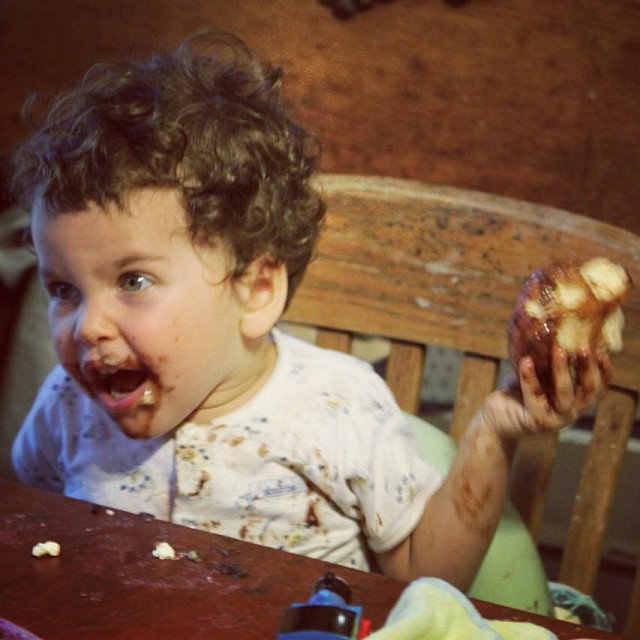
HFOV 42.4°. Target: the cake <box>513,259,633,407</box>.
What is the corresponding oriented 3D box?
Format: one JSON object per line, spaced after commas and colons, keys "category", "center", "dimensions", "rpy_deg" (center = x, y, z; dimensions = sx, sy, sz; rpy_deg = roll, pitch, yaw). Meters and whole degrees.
{"category": "cake", "center": [0.250, 0.011, 0.826], "dimensions": [0.111, 0.142, 0.094], "rpy_deg": [12, 15, 7]}
